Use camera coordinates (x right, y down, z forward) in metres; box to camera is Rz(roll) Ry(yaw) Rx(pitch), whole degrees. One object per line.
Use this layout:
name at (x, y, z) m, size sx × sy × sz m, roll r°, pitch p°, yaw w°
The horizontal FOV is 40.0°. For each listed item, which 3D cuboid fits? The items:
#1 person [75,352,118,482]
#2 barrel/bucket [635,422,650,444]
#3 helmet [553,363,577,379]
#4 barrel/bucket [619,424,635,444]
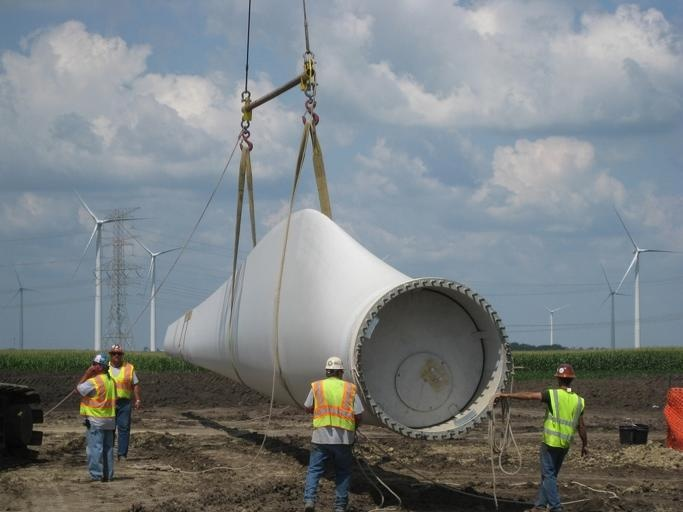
person at (-5.145, 3.388, 19.639) m, size 0.813 × 2.628 × 0.622 m, roll 3°, pitch -8°, yaw -16°
barrel/bucket at (7.304, 4.397, 23.001) m, size 0.279 × 0.459 × 0.550 m, roll -2°, pitch -9°, yaw 19°
helmet at (4.174, 2.277, 17.899) m, size 0.349 × 0.262 × 0.434 m, roll 1°, pitch 4°, yaw -22°
barrel/bucket at (6.934, 4.396, 22.981) m, size 0.325 × 0.461 × 0.361 m, roll -1°, pitch -9°, yaw 15°
